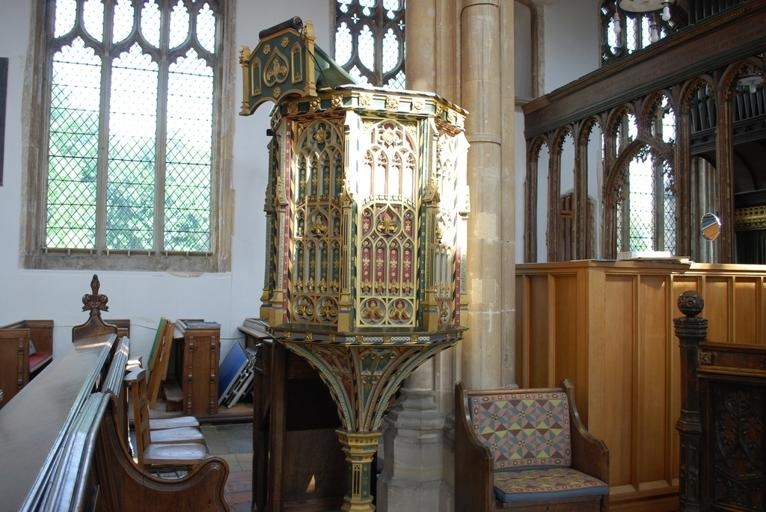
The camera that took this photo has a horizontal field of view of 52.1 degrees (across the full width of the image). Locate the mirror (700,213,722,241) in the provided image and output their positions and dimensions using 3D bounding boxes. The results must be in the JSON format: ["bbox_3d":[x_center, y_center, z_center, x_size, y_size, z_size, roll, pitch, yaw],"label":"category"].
[{"bbox_3d":[3.234,-0.315,7.733,0.148,0.255,0.283,-2,-3,30],"label":"mirror"}]

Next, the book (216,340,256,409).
[{"bbox_3d":[-2.039,1.652,10.811,0.183,0.777,0.741,30,11,-29],"label":"book"}]

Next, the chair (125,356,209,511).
[{"bbox_3d":[-1.990,1.620,7.253,0.616,1.007,1.440,0,-1,-15],"label":"chair"}]
